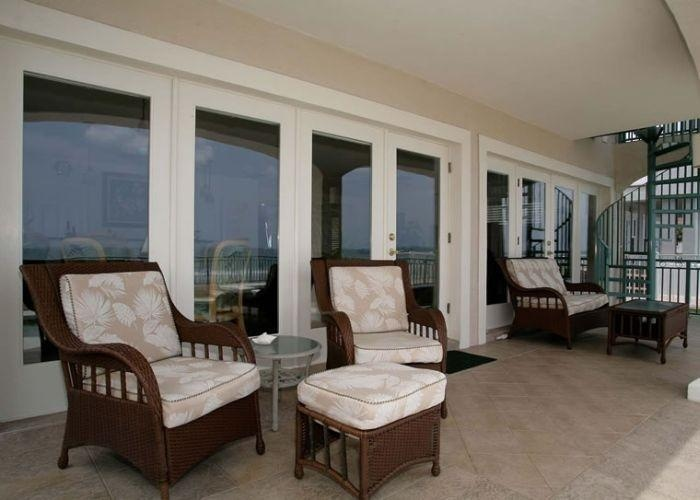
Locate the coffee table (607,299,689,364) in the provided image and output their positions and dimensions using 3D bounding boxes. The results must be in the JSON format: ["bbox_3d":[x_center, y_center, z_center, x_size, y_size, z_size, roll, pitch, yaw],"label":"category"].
[{"bbox_3d":[3.277,0.852,5.372,0.550,0.483,0.931,-6,-8,42],"label":"coffee table"}]

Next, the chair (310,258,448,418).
[{"bbox_3d":[0.194,0.637,4.274,1.214,1.576,1.188,2,-9,-18],"label":"chair"}]

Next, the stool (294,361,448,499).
[{"bbox_3d":[0.150,0.982,3.138,0.776,0.672,0.754,2,-2,-44],"label":"stool"}]

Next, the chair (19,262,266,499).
[{"bbox_3d":[-1.318,0.750,3.651,1.638,1.555,1.239,2,2,30],"label":"chair"}]

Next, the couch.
[{"bbox_3d":[2.507,0.590,6.125,0.973,1.018,1.643,-2,-1,42],"label":"couch"}]
